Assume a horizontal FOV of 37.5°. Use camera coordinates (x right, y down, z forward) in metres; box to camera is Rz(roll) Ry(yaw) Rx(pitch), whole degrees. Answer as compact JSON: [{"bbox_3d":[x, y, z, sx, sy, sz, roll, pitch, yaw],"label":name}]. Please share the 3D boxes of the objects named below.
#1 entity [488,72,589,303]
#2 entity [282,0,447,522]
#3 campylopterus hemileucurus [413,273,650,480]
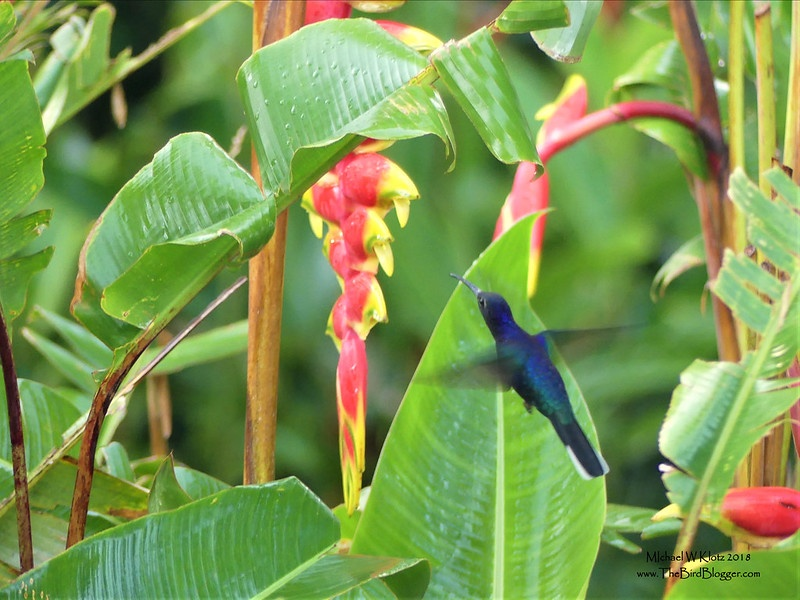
[{"bbox_3d":[0.133,-0.122,1.101,0.039,0.256,0.072,-1,-15,29],"label":"entity"},{"bbox_3d":[-0.020,0.025,1.036,0.100,0.334,0.209,-9,19,-3],"label":"entity"},{"bbox_3d":[0.117,0.067,1.075,0.187,0.093,0.210,-15,37,-38],"label":"campylopterus hemileucurus"}]
